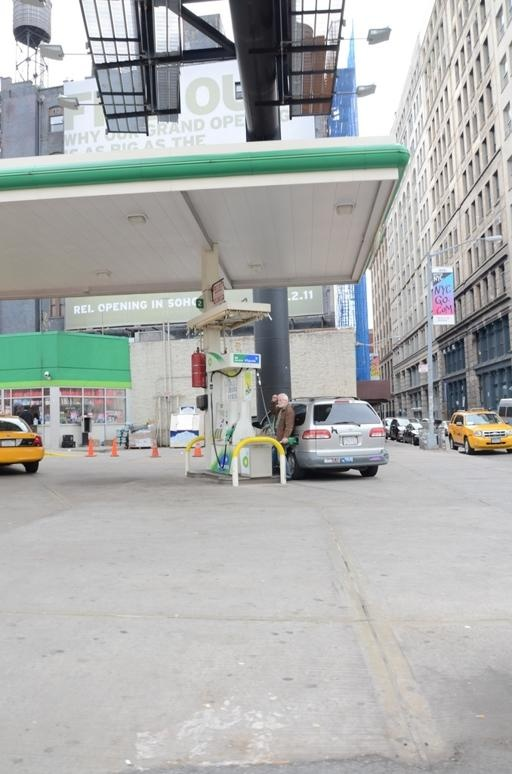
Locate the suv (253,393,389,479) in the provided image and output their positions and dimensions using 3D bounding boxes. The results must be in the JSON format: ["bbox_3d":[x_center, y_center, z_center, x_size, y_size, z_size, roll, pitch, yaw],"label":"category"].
[{"bbox_3d":[1.627,0.985,14.032,1.276,0.921,2.311,-1,2,-14],"label":"suv"}]

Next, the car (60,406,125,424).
[{"bbox_3d":[-8.444,1.458,36.238,0.591,0.869,3.779,-3,-4,35],"label":"car"}]

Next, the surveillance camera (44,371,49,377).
[{"bbox_3d":[-10.306,-0.622,34.518,0.296,0.345,0.145,-1,-3,7],"label":"surveillance camera"}]
